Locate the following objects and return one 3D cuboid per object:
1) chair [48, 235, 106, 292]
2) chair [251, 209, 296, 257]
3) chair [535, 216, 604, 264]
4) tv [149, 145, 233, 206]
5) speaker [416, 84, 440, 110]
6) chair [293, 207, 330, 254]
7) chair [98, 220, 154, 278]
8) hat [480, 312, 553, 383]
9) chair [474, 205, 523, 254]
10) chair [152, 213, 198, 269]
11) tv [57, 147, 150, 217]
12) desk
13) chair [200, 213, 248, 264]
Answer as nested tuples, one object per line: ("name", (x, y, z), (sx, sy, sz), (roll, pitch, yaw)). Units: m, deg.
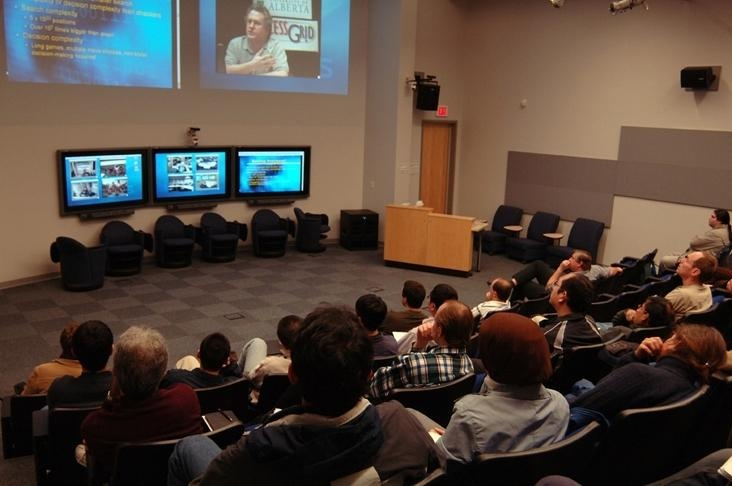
("chair", (-4.948, 0.314, 8.732), (0.741, 0.858, 0.798), (5, 7, 28))
("chair", (-2.128, -0.252, 11.266), (1.002, 1.098, 1.026), (-2, 6, -29))
("chair", (4.459, 0.050, 10.789), (1.046, 0.976, 0.751), (-8, 15, -24))
("tv", (-3.699, -1.423, 10.431), (1.304, 0.907, 0.133), (-6, 11, -33))
("speaker", (1.390, -3.285, 11.321), (0.516, 0.476, 0.264), (-5, 17, -24))
("chair", (-1.244, -0.317, 11.593), (0.879, 0.904, 0.883), (5, 10, -3))
("chair", (-4.578, 0.082, 9.722), (1.005, 1.129, 1.029), (-4, 8, -38))
("hat", (0.790, 0.560, 2.888), (0.306, 0.327, 0.428), (-13, 12, -27))
("chair", (3.132, -0.315, 12.001), (0.997, 1.039, 0.681), (-9, 19, -32))
("chair", (-3.828, -0.054, 10.009), (0.810, 0.896, 0.776), (13, 14, 35))
("tv", (-4.985, -1.161, 9.403), (0.141, 0.933, 1.351), (10, 13, 43))
("desk", (1.479, -0.106, 10.688), (2.085, 1.185, 1.245), (13, 17, 33))
("chair", (-3.024, -0.149, 10.584), (0.921, 0.912, 0.828), (0, 10, -21))
